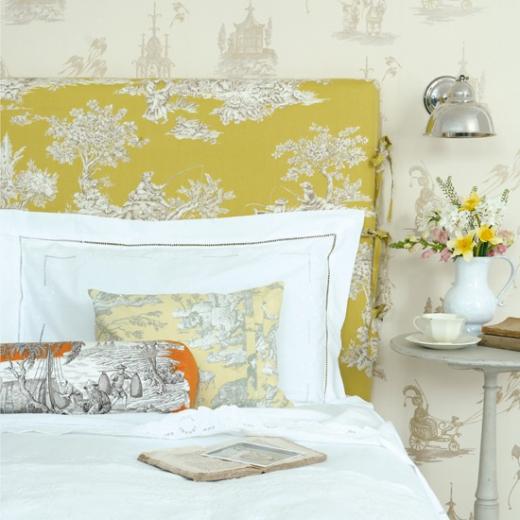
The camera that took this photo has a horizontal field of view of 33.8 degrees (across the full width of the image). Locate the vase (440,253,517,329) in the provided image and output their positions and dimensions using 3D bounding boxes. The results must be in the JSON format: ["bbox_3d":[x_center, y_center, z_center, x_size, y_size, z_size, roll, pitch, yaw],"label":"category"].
[{"bbox_3d":[0.665,0.108,2.743,0.261,0.303,0.188,3,-2,0],"label":"vase"}]

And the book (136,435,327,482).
[{"bbox_3d":[-0.064,0.473,2.044,0.426,0.037,0.186,-4,8,-24],"label":"book"}]

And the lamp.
[{"bbox_3d":[0.663,-0.523,2.857,0.215,0.217,0.297,3,10,10],"label":"lamp"}]

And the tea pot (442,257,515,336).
[{"bbox_3d":[0.658,0.115,2.744,0.274,0.317,0.194,3,-1,-1],"label":"tea pot"}]

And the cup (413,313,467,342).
[{"bbox_3d":[0.563,0.210,2.679,0.135,0.084,0.194,0,8,4],"label":"cup"}]

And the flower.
[{"bbox_3d":[0.648,-0.125,2.765,0.333,0.328,0.191,1,1,17],"label":"flower"}]

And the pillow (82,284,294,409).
[{"bbox_3d":[-0.151,0.223,2.470,0.441,0.369,0.116,5,-30,-9],"label":"pillow"}]
